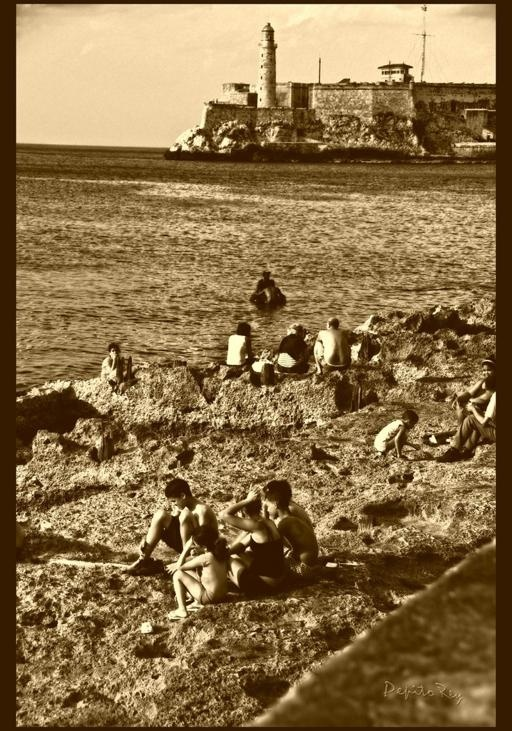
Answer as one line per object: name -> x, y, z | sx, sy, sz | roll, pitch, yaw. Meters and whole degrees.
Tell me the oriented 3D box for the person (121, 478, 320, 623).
person -> -0.177, 0.894, 5.000 | 0.729, 0.540, 0.560 | -6, -1, 32
